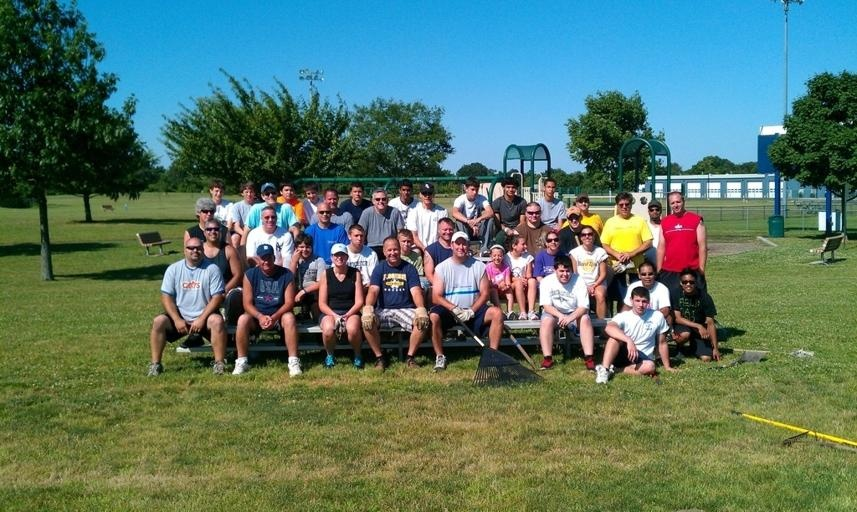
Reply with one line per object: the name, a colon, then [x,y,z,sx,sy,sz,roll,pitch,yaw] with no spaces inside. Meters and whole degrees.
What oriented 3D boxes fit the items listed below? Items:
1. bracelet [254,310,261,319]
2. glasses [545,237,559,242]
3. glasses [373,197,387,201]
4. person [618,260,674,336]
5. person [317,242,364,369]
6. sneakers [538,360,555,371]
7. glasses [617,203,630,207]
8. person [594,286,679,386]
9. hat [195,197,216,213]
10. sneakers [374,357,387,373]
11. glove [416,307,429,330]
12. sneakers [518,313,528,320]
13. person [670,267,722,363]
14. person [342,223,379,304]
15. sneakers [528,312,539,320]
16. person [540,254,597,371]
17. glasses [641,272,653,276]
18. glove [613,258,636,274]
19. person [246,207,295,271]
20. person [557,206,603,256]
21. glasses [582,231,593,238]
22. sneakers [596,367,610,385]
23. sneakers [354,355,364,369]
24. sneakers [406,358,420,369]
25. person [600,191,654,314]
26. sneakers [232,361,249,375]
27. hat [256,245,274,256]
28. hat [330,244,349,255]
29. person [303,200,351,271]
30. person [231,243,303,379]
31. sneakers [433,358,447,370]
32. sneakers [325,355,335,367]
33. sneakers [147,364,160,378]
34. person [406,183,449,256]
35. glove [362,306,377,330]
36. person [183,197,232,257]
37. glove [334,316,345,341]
bracelet: [-3.310,1.140,16.591,0.140,0.128,0.040,2,-17,-5]
glasses: [2.453,-0.349,17.239,0.234,0.107,0.141,-1,4,6]
glasses: [-1.020,-1.181,18.037,0.228,0.092,0.122,-2,4,-5]
person: [4.176,0.786,16.729,1.105,1.264,0.976,-6,11,4]
person: [-1.710,0.973,16.764,0.902,2.400,0.529,-2,4,-7]
sneakers: [2.288,2.066,16.712,0.245,0.208,0.354,-1,4,7]
glasses: [4.025,-1.049,17.876,0.259,0.090,0.163,0,4,15]
person: [3.854,1.446,16.343,1.506,1.738,0.561,-2,4,-13]
hat: [-4.564,-1.044,17.583,0.325,0.348,0.374,1,-7,-19]
sneakers: [-0.944,2.087,16.641,0.212,0.280,0.316,-2,4,-3]
glove: [-0.142,1.206,16.635,0.264,0.417,0.180,-2,4,-2]
sneakers: [1.873,1.218,17.187,0.117,0.111,0.289,-1,-4,5]
person: [5.214,1.154,17.005,1.197,1.741,1.033,11,21,43]
person: [-1.400,0.099,17.165,0.977,1.437,1.018,-2,1,6]
sneakers: [2.107,1.192,17.228,0.178,0.148,0.410,0,4,25]
person: [2.677,1.088,16.781,1.054,2.164,0.698,-1,4,6]
glasses: [4.224,0.351,16.706,0.255,0.089,0.113,-2,4,-6]
glove: [3.986,0.212,17.630,0.361,0.120,0.275,-8,16,-14]
person: [-3.266,-0.379,17.592,0.998,1.278,0.872,-3,14,-15]
person: [3.321,-0.553,18.220,1.026,0.886,0.580,-5,12,15]
glasses: [3.176,-0.437,17.259,0.288,0.136,0.153,-2,4,-6]
sneakers: [3.245,2.212,16.109,0.264,0.284,0.372,0,4,15]
sneakers: [-1.376,2.045,16.775,0.177,0.249,0.283,-2,4,-4]
sneakers: [-0.322,2.071,16.755,0.251,0.189,0.276,-2,4,-10]
person: [4.169,0.063,17.991,1.195,2.640,0.910,-2,17,17]
sneakers: [-3.622,2.122,16.496,0.333,0.251,0.227,-3,4,-17]
hat: [-3.181,-0.113,16.617,0.317,0.224,0.198,-2,4,-13]
hat: [-1.756,-0.136,16.770,0.317,0.208,0.306,-2,4,-13]
person: [-2.167,-0.398,17.753,1.057,1.217,0.686,1,-8,-9]
person: [-3.165,1.013,16.626,1.284,2.474,0.816,-2,4,-9]
sneakers: [0.210,2.088,16.626,0.184,0.142,0.374,-2,-8,5]
sneakers: [-1.939,2.036,16.793,0.229,0.229,0.322,-2,4,-8]
sneakers: [-5.244,2.169,16.440,0.273,0.202,0.267,-2,4,-15]
person: [-0.033,-0.767,18.602,1.059,1.551,0.953,-6,2,-1]
glove: [-1.166,1.193,16.511,0.337,0.421,0.120,-1,0,4]
person: [-4.569,-0.593,17.679,1.000,1.165,0.751,0,-10,-31]
glove: [-1.735,1.407,16.740,0.299,0.378,0.156,4,8,1]
